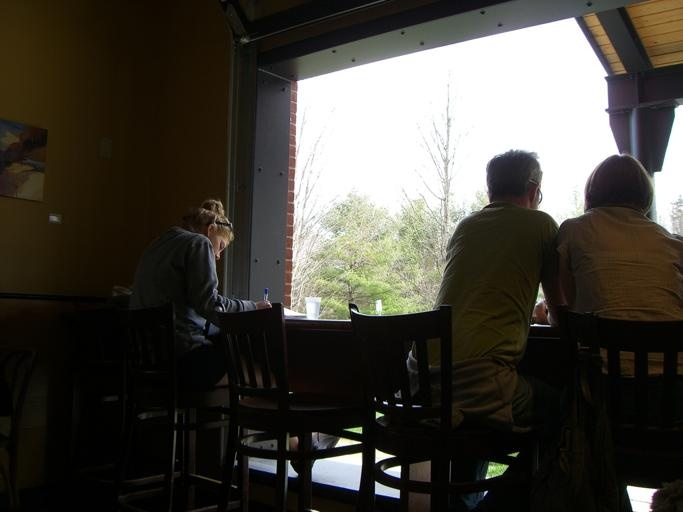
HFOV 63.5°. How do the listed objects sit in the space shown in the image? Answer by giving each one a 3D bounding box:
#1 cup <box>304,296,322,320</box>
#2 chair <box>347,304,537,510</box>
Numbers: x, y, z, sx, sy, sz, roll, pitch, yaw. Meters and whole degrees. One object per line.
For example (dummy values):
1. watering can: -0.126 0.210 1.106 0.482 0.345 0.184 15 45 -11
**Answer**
1. cup: -0.180 0.323 3.462 0.129 0.173 0.118 1 -3 0
2. chair: 0.350 0.624 2.177 0.666 0.846 0.409 -1 -9 19
